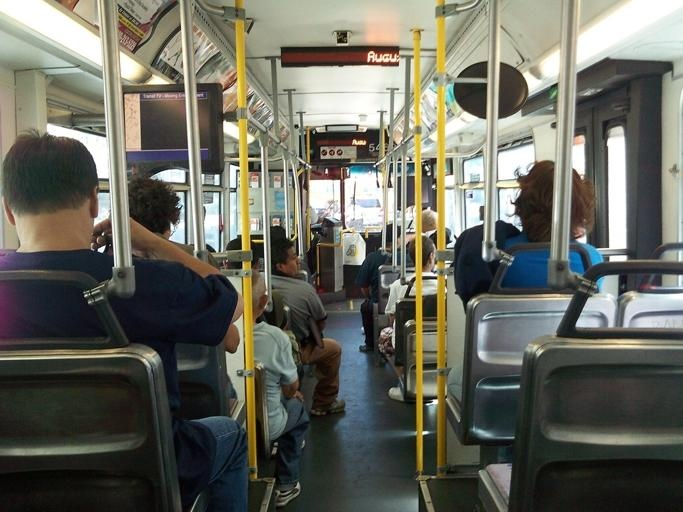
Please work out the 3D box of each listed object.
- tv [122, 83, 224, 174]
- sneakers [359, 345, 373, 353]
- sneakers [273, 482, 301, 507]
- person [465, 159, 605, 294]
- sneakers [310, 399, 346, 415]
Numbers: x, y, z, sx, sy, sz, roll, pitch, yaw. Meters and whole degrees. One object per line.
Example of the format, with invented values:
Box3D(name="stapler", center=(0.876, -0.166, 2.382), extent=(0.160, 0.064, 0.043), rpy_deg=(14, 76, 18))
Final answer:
Box3D(name="tv", center=(-1.050, -0.814, 3.861), extent=(0.818, 0.776, 0.117), rpy_deg=(-1, -2, 0))
Box3D(name="sneakers", center=(0.322, 1.209, 8.013), extent=(0.174, 0.089, 0.073), rpy_deg=(5, -8, -3))
Box3D(name="sneakers", center=(-0.362, 1.582, 4.098), extent=(0.069, 0.093, 0.210), rpy_deg=(1, 7, 31))
Box3D(name="person", center=(1.018, -0.147, 3.405), extent=(0.776, 0.766, 0.560), rpy_deg=(0, 6, 18))
Box3D(name="sneakers", center=(-0.120, 1.376, 5.712), extent=(0.313, 0.153, 0.122), rpy_deg=(-7, 5, -15))
